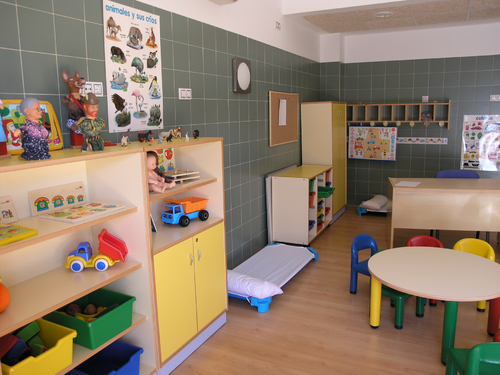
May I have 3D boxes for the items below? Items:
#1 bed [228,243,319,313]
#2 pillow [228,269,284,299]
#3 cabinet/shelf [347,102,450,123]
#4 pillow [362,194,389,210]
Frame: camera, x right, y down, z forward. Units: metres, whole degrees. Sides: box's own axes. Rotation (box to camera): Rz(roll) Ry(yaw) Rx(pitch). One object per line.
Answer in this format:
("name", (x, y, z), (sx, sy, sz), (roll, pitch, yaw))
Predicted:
("bed", (0.187, 0.970, 4.194), (0.478, 0.127, 0.869), (4, 13, 24))
("pillow", (0.080, 0.986, 3.917), (0.709, 0.245, 0.126), (9, -14, -33))
("cabinet/shelf", (2.684, -1.301, 6.929), (1.780, 0.526, 0.219), (2, -18, 16))
("pillow", (2.296, 0.251, 6.719), (0.246, 0.090, 0.388), (4, 18, 32))
